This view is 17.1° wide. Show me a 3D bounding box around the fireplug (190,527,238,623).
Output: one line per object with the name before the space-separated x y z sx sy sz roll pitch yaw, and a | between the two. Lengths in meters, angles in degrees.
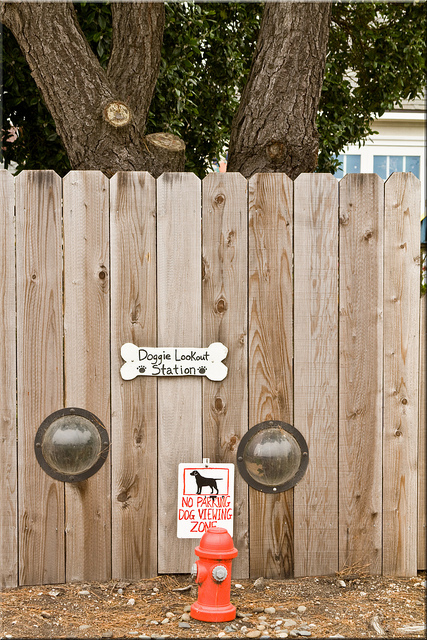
fireplug | 0.003 1.185 6.643 0.201 0.437 0.217 -3 12 -29
